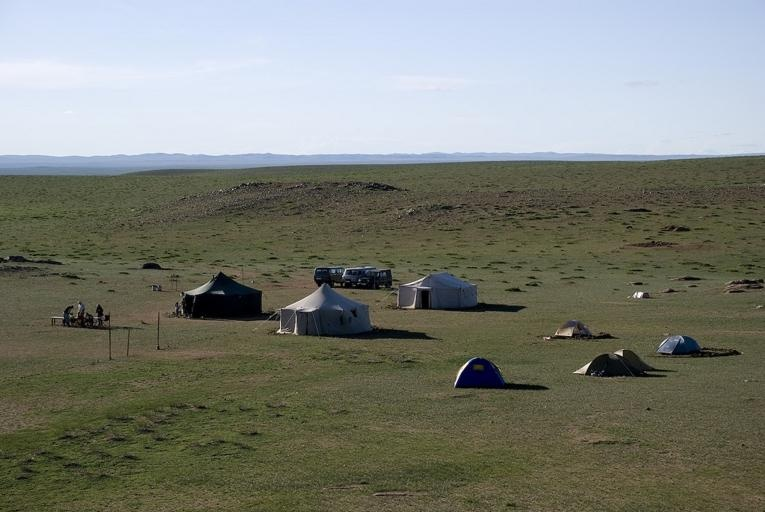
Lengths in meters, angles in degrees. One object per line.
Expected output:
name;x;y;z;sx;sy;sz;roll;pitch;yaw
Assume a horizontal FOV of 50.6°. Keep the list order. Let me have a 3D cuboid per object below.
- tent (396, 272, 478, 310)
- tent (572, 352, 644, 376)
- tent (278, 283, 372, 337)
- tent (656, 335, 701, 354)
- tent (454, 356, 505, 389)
tent;3.514;2.315;52.199;5.002;2.170;1.907;1;13;1
tent;9.702;4.743;34.884;2.420;0.379;1.210;-1;0;-5
tent;-3.121;2.931;43.630;4.880;2.583;1.994;-1;14;-7
tent;13.921;4.236;38.235;1.799;0.348;1.245;-2;2;-35
tent;3.896;4.896;33.544;2.205;0.532;1.736;1;2;23
